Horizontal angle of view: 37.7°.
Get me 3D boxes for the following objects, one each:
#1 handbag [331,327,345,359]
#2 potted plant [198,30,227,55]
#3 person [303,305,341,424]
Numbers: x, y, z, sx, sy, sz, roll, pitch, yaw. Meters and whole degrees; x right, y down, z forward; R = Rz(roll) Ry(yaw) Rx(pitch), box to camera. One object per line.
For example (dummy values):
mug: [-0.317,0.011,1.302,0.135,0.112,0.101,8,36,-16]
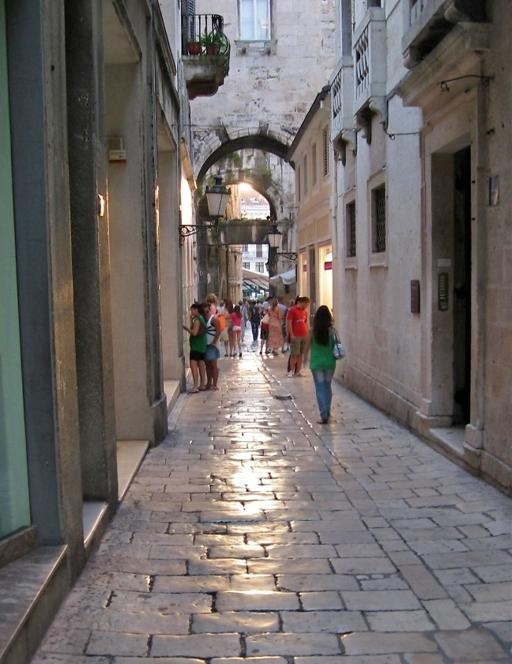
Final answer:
handbag: [0.939,0.143,8.769,0.125,0.359,0.526,0,2,5]
potted plant: [-0.816,-5.424,14.153,0.471,0.539,0.654,1,2,5]
person: [0.814,0.393,8.999,0.369,1.431,0.975,0,2,5]
